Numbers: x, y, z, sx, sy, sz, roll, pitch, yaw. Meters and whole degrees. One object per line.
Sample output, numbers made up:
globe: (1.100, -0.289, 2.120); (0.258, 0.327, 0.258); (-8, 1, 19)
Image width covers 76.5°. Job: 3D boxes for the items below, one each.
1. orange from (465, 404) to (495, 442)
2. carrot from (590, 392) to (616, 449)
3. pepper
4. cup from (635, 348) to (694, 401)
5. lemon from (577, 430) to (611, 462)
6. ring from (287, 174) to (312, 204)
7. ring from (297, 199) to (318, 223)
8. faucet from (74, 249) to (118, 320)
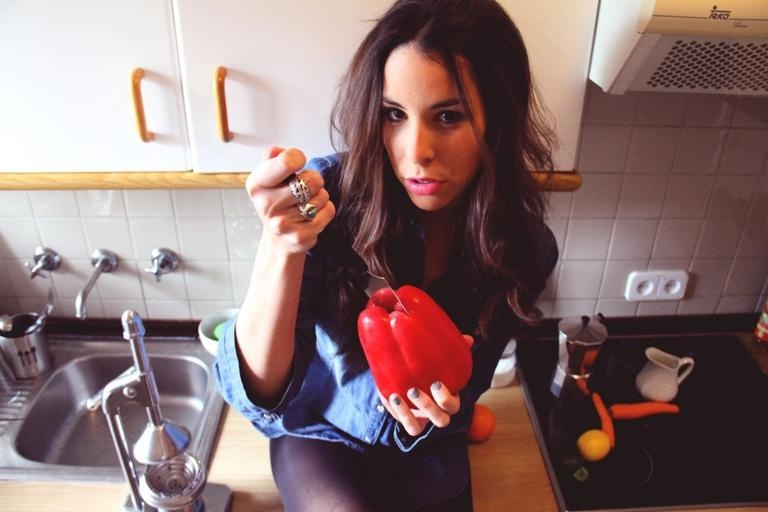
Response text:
orange: (0.299, 0.515, 1.539); (0.105, 0.106, 0.106); (-1, 7, 9)
carrot: (0.672, 0.515, 1.531); (0.043, 0.036, 0.167); (-45, 28, 26)
pepper: (0.063, 0.222, 1.124); (0.215, 0.280, 0.216); (-31, 21, 20)
cup: (0.941, 0.403, 1.606); (0.187, 0.179, 0.127); (3, 20, 11)
lemon: (0.624, 0.566, 1.465); (0.077, 0.097, 0.088); (6, 16, 23)
ring: (-0.153, -0.122, 0.884); (0.036, 0.048, 0.017); (-33, -2, -44)
ring: (-0.142, -0.081, 0.902); (0.035, 0.033, 0.033); (-38, 14, 11)
faucet: (-0.995, 0.078, 1.661); (0.107, 0.097, 0.250); (17, 54, -16)
